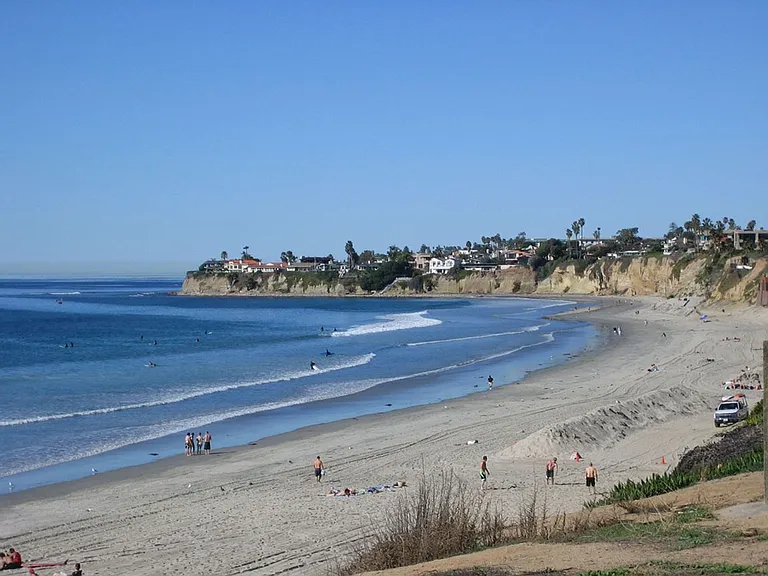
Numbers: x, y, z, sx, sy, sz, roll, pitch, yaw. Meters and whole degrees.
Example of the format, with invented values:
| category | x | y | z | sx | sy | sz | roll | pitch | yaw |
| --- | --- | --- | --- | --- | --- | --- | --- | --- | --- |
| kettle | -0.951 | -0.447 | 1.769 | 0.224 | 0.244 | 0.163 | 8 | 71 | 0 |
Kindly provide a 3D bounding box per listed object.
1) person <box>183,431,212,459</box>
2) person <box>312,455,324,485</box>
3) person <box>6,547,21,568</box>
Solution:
| category | x | y | z | sx | sy | sz | roll | pitch | yaw |
| --- | --- | --- | --- | --- | --- | --- | --- | --- | --- |
| person | -8.598 | 7.327 | 39.167 | 0.395 | 0.890 | 1.001 | -8 | -7 | 44 |
| person | -2.606 | 7.188 | 33.725 | 0.365 | 0.939 | 1.029 | 0 | -2 | -5 |
| person | -11.630 | 8.582 | 26.863 | 0.378 | 0.458 | 0.715 | 1 | -2 | -21 |
